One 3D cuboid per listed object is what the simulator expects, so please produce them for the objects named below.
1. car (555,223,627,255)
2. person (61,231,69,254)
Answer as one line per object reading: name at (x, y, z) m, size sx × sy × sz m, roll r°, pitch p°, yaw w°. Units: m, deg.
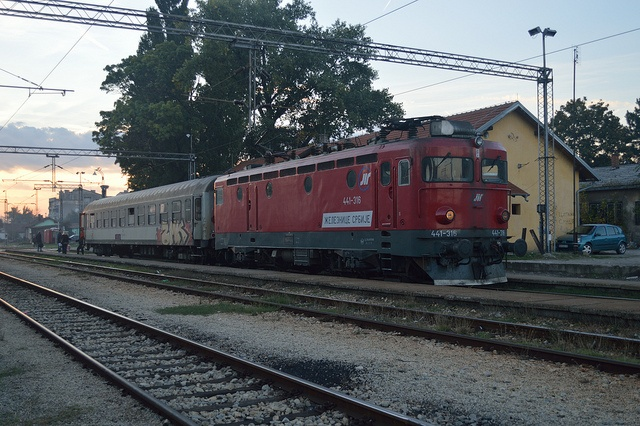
car at (15.748, 1.642, 32.067) m, size 3.211 × 1.492 × 1.928 m, roll 6°, pitch -9°, yaw -23°
person at (-20.156, 2.455, 43.615) m, size 0.452 × 1.682 × 1.282 m, roll -4°, pitch 5°, yaw -29°
